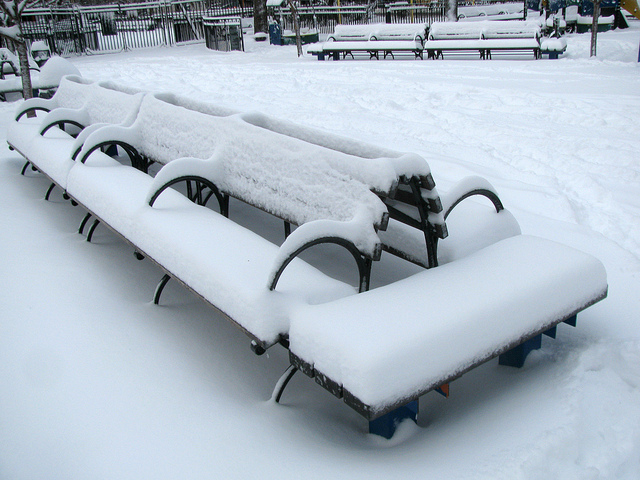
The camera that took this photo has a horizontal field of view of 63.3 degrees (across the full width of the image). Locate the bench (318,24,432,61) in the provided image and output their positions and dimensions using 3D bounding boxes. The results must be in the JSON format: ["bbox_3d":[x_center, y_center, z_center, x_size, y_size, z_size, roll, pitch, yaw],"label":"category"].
[{"bbox_3d":[1.728,-6.123,15.964,3.103,0.994,2.040,7,24,22],"label":"bench"}]

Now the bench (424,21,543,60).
[{"bbox_3d":[4.535,-5.642,14.564,3.247,0.943,2.398,9,25,27],"label":"bench"}]

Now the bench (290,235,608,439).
[{"bbox_3d":[0.817,0.615,3.109,1.952,0.783,0.839,-16,21,-29],"label":"bench"}]

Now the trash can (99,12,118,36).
[{"bbox_3d":[-8.515,-8.754,20.975,0.592,0.895,1.430,-9,23,-15],"label":"trash can"}]

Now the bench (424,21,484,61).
[{"bbox_3d":[3.829,-5.738,14.843,1.544,0.934,1.747,5,23,18],"label":"bench"}]

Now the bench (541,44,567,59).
[{"bbox_3d":[5.851,-4.729,13.069,0.515,0.154,0.592,4,22,27],"label":"bench"}]

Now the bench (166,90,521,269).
[{"bbox_3d":[0.453,-0.323,3.677,1.736,0.809,0.877,13,26,34],"label":"bench"}]
